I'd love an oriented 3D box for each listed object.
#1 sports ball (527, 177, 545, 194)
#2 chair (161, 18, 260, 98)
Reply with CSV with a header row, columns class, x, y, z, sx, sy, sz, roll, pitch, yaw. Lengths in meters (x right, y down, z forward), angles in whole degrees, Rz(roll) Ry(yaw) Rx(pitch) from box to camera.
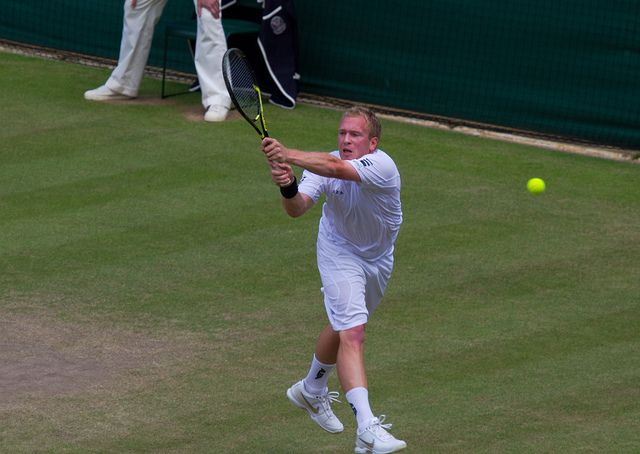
class,x,y,z,sx,sy,sz,roll,pitch,yaw
sports ball,2.427,-0.456,13.919,0.169,0.193,0.344,13,11,12
chair,-1.658,-2.418,16.457,1.516,1.210,1.159,6,13,22
